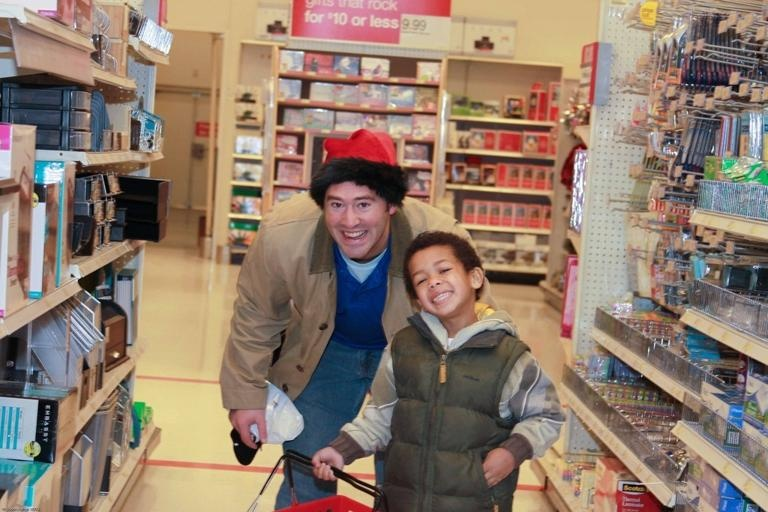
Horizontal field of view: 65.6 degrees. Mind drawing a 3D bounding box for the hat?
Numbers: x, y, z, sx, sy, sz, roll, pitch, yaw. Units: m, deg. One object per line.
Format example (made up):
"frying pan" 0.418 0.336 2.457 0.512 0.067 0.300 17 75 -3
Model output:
"hat" -0.099 -0.348 2.394 0.387 0.318 0.264 0 12 -18
